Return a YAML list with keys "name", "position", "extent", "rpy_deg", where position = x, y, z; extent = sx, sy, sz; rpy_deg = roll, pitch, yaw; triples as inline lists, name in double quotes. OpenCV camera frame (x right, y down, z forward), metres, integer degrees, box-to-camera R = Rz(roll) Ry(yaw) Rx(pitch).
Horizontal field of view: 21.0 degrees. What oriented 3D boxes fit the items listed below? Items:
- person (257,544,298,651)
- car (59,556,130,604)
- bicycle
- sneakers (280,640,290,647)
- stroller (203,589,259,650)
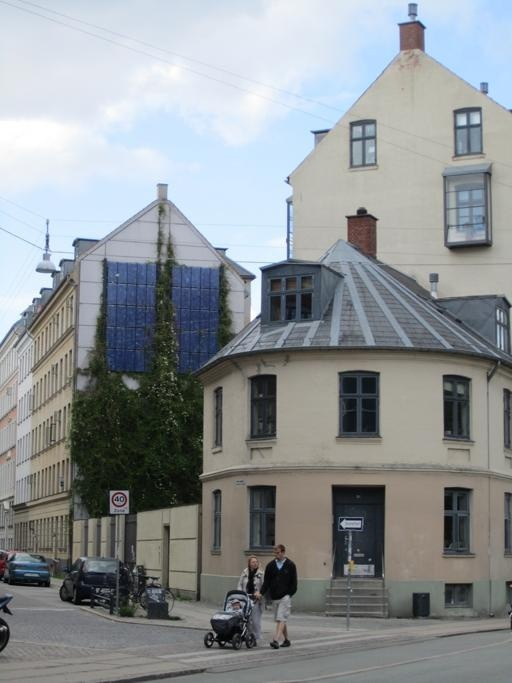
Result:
- name: "person"
  position: [0.376, 4.669, 25.053]
  extent: [0.543, 1.781, 1.085]
  rpy_deg: [-10, 3, 27]
- name: "car"
  position: [-4.150, 6.325, 36.315]
  extent: [1.506, 1.332, 2.522]
  rpy_deg: [3, -8, -15]
- name: "bicycle"
  position: [-2.994, 6.083, 33.834]
  extent: [0.971, 1.317, 2.692]
  rpy_deg: [5, -11, -29]
- name: "sneakers"
  position: [0.530, 5.460, 24.894]
  extent: [0.215, 0.151, 0.075]
  rpy_deg: [-3, -9, 19]
- name: "stroller"
  position: [-0.575, 5.041, 24.877]
  extent: [0.791, 1.338, 1.047]
  rpy_deg: [-13, -25, 38]
